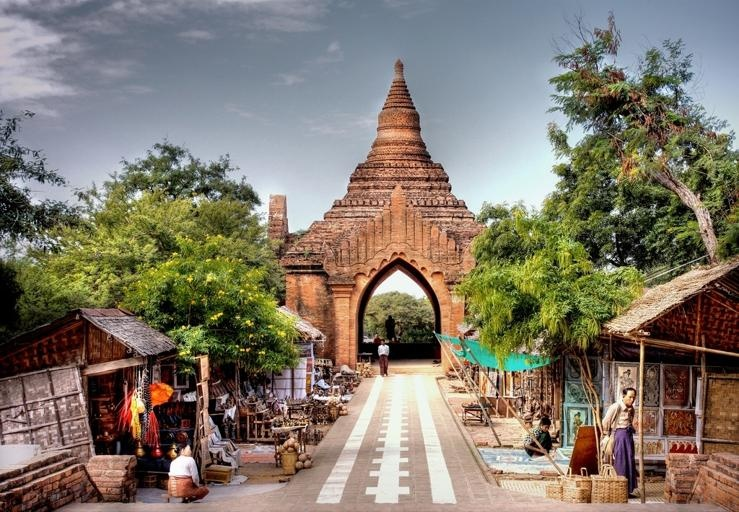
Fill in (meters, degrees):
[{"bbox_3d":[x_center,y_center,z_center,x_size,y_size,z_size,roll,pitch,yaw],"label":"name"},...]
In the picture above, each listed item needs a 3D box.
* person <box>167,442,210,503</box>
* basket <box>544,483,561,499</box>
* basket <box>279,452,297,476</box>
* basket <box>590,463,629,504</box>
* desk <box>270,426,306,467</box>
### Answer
[{"bbox_3d":[-3.497,4.197,12.411,0.713,1.066,1.061,1,-12,-17],"label":"person"},{"bbox_3d":[3.497,4.426,12.114,0.259,0.196,0.261,1,-3,-4],"label":"basket"},{"bbox_3d":[-1.770,4.650,14.447,0.361,0.515,0.309,0,-11,-9],"label":"basket"},{"bbox_3d":[4.370,4.141,11.844,0.629,0.615,0.641,0,-2,-7],"label":"basket"},{"bbox_3d":[-1.980,4.544,15.610,0.931,0.926,0.944,1,-3,-4],"label":"desk"}]
